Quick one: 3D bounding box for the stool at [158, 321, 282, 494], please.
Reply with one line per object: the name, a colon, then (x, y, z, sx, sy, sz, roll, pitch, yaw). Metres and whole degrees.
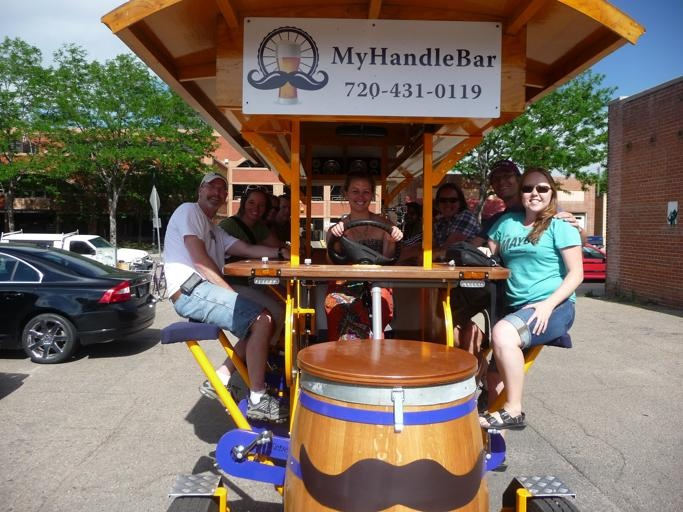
stool: (-0.695, 1.206, 4.131, 1.250, 1.268, 1.116, 7, -24, -2)

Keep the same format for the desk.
desk: (0.220, 0.705, 4.021, 2.069, 1.306, 1.269, 1, 3, 1)

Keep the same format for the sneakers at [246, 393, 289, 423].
sneakers: (-0.544, 1.140, 3.783, 0.293, 0.144, 0.201, 1, -3, 3)

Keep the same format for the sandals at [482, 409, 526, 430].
sandals: (1.127, 1.157, 3.606, 0.327, 0.122, 0.136, 6, -21, 0)

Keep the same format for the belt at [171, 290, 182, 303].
belt: (-1.397, 0.340, 4.287, 0.095, 0.036, 0.071, -29, 13, -3)

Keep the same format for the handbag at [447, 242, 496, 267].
handbag: (1.014, 0.006, 3.887, 0.298, 0.113, 0.234, 3, -1, 3)

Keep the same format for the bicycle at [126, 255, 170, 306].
bicycle: (-4.212, 0.527, 10.972, 1.009, 0.689, 1.499, -2, 18, -13)
